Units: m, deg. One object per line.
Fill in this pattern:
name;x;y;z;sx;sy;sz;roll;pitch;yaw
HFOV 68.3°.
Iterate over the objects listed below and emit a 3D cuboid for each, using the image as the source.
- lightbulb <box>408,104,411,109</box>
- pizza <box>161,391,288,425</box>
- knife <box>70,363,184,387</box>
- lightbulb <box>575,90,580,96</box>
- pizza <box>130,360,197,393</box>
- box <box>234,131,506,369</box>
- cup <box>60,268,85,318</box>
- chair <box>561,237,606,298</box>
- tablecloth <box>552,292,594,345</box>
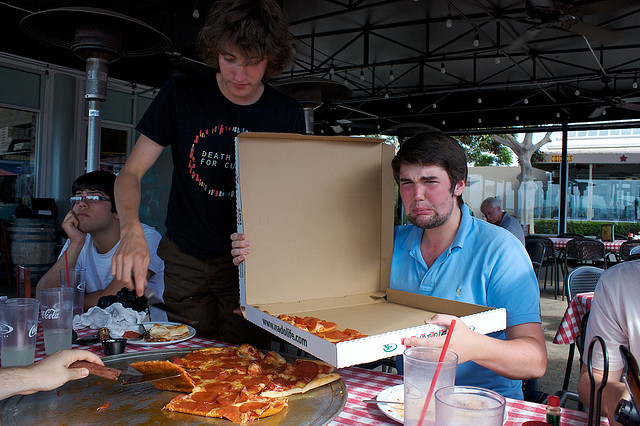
lightbulb;2.043;-2.458;10.706;0.076;0.108;0.059;-1;2;-3
pizza;-0.330;0.680;1.660;0.268;0.046;0.168;3;-5;9
knife;-0.733;0.613;1.774;0.315;0.029;0.078;5;-3;19
lightbulb;4.525;-2.126;8.228;0.039;0.090;0.266;9;13;28
pizza;-0.579;0.606;1.756;0.153;0.050;0.148;16;-19;10
box;0.207;0.121;2.148;1.027;1.028;1.055;0;1;-32
cup;-1.157;0.367;2.180;0.180;0.215;0.179;-4;-7;-1
chair;4.325;0.947;7.596;0.792;1.065;0.819;-1;1;13
tablecloth;1.689;0.736;3.140;0.164;0.364;0.482;10;14;32
